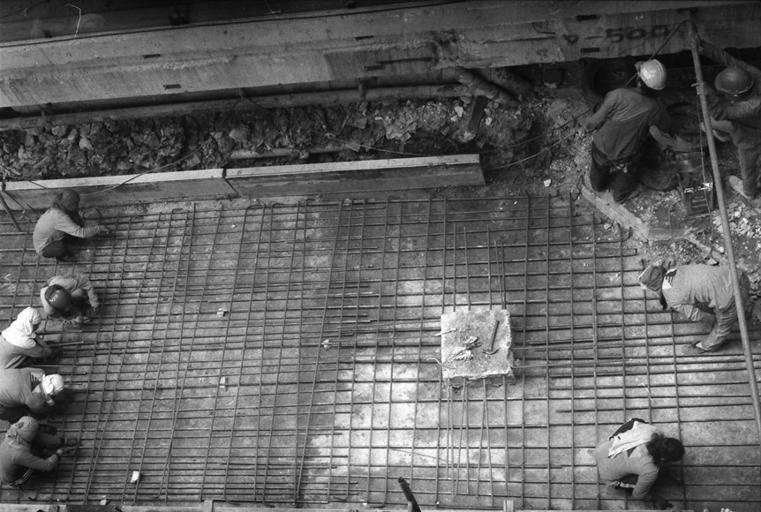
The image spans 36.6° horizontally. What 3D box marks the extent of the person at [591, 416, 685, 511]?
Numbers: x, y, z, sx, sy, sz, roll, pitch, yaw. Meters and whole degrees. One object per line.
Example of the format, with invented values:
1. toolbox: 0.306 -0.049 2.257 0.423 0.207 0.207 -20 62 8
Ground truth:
1. person: 3.277 2.618 14.597 1.040 1.001 0.825 35 69 29

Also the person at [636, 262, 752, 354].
1. person: 4.106 0.651 15.171 1.380 1.145 0.985 -1 31 11

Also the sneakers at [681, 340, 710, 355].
1. sneakers: 4.111 1.215 15.245 0.436 0.162 0.134 -9 46 32

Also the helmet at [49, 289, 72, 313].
1. helmet: -4.508 0.599 16.478 0.257 0.325 0.311 -46 14 -7

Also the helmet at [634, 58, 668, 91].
1. helmet: 3.495 -2.369 14.978 0.331 0.409 0.447 -6 55 7

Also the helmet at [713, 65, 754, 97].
1. helmet: 4.523 -2.278 14.825 0.419 0.394 0.166 3 12 10

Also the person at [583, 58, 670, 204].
1. person: 3.314 -1.642 15.615 1.162 2.136 0.897 6 48 3

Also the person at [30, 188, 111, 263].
1. person: -4.517 -0.458 17.116 1.277 1.108 0.805 2 34 3

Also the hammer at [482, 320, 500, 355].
1. hammer: 1.492 1.104 15.514 0.240 0.089 0.386 16 82 4

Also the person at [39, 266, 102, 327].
1. person: -4.432 0.669 16.792 0.660 0.727 0.549 -32 51 18

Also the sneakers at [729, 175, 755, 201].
1. sneakers: 4.813 -0.938 15.557 0.376 0.089 0.189 48 112 23
